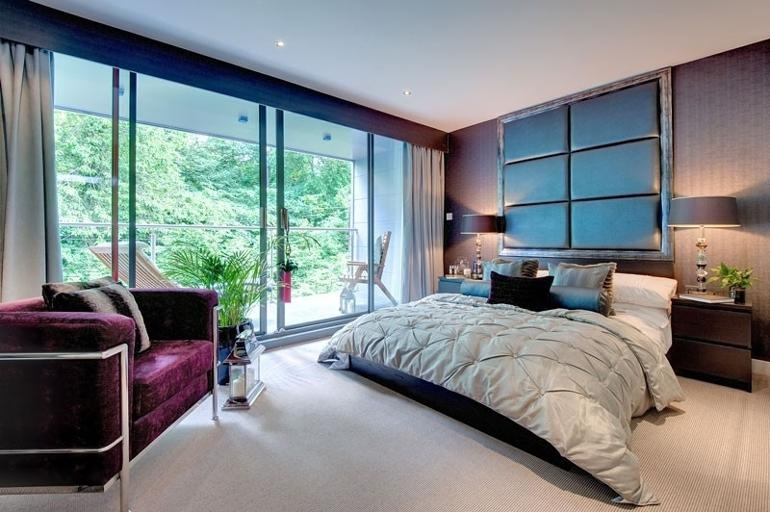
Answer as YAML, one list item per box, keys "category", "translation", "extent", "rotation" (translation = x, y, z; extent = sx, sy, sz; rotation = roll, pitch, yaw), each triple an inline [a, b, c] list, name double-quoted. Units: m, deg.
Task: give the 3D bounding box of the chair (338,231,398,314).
- category: "chair"
  translation: [-0.432, 0.286, 6.873]
  extent: [1.037, 1.261, 0.887]
  rotation: [-1, -4, -9]

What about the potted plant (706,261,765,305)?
- category: "potted plant"
  translation: [3.305, 0.255, 4.492]
  extent: [0.384, 0.327, 0.371]
  rotation: [-2, -2, -34]

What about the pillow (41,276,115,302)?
- category: "pillow"
  translation: [-2.262, 0.224, 3.407]
  extent: [0.261, 0.086, 0.269]
  rotation: [24, 10, 30]

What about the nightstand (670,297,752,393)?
- category: "nightstand"
  translation: [3.043, 0.782, 4.370]
  extent: [0.713, 0.756, 0.819]
  rotation: [-2, -3, 44]

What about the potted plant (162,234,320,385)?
- category: "potted plant"
  translation: [-1.501, 0.534, 5.051]
  extent: [1.509, 1.440, 1.429]
  rotation: [2, -1, -38]
